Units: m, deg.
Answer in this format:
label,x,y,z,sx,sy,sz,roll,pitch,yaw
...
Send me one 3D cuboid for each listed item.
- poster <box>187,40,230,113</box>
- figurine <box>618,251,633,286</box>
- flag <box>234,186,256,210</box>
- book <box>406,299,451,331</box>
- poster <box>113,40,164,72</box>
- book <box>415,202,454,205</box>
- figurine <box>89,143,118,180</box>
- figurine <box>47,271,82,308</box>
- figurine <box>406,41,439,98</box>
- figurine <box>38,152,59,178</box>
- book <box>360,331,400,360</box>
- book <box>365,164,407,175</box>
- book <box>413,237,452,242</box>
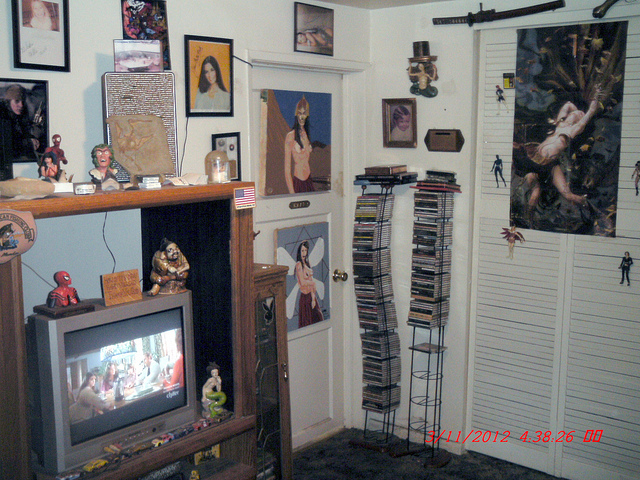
label,x,y,z,sx,sy,sz,roll,pitch,yaw
poster,-0.708,-1.041,3.498,0.037,0.419,0.337,13,15,43
figurine,2.126,0.192,3.809,0.078,0.230,0.025,5,12,25
flag,-0.405,-0.226,2.913,0.103,0.095,0.007,-13,13,-37
book,0.847,0.512,4.305,0.298,0.219,0.225,6,9,41
poster,-0.930,-0.938,2.801,0.231,0.159,0.031,-5,12,-19
book,0.881,-0.281,4.229,0.276,0.019,0.081,0,13,4
figurine,-1.062,-0.385,2.689,0.126,0.186,0.093,-1,0,-19
figurine,-1.225,0.226,2.618,0.098,0.173,0.188,4,5,11
figurine,0.809,-1.336,4.314,0.233,0.409,0.203,5,13,30
figurine,-1.269,-0.348,2.562,0.078,0.119,0.055,3,0,-10
book,0.486,0.843,4.474,0.234,0.157,0.235,-1,0,-42
book,0.552,-0.557,4.354,0.390,0.065,0.193,-4,13,-16
book,0.880,0.003,4.255,0.295,0.040,0.074,-1,13,-2
